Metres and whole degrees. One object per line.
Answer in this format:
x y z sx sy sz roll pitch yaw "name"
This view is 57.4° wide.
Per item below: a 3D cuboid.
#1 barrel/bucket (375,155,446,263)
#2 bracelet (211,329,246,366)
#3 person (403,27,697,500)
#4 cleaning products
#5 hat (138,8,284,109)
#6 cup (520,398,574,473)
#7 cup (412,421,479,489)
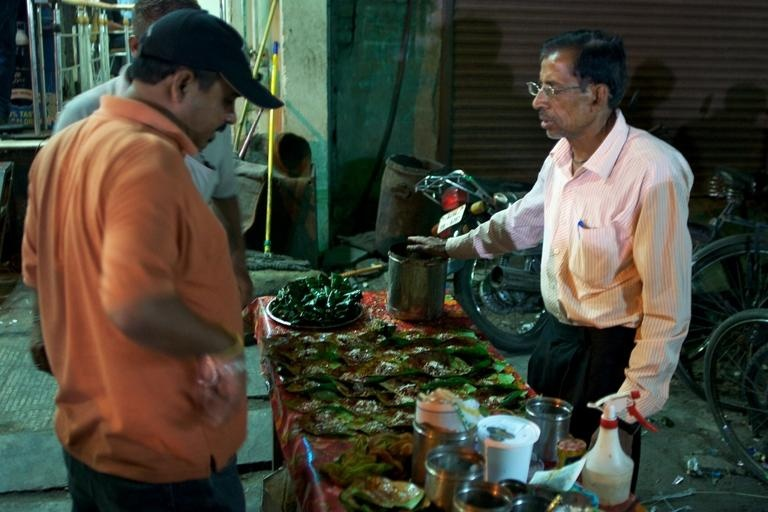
0.259 -0.651 7.925 0.744 1.169 0.742 0 43 0 "barrel/bucket"
-0.688 0.405 3.100 0.121 0.092 0.125 5 8 17 "bracelet"
1.139 -0.078 3.982 1.114 2.682 1.104 -2 7 -26 "person"
1.073 0.911 3.276 0.272 0.571 0.284 -1 21 -15 "cleaning products"
-0.799 -0.925 3.258 0.565 0.292 0.358 15 15 -19 "hat"
0.783 0.837 3.434 0.269 0.318 0.283 1 6 0 "cup"
0.228 0.850 3.284 0.386 0.310 0.245 -2 10 -29 "cup"
